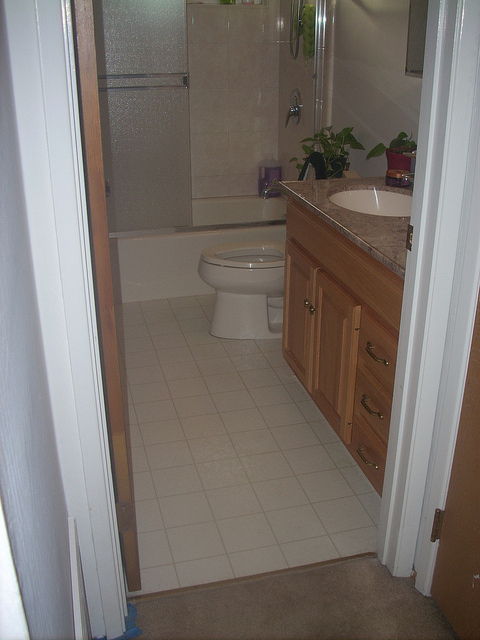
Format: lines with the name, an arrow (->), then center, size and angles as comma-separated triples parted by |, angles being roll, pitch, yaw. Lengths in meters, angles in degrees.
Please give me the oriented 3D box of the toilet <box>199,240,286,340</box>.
toilet -> 0.009, -0.162, 2.820 | 0.529, 0.434, 0.458 | -8, 29, -16
